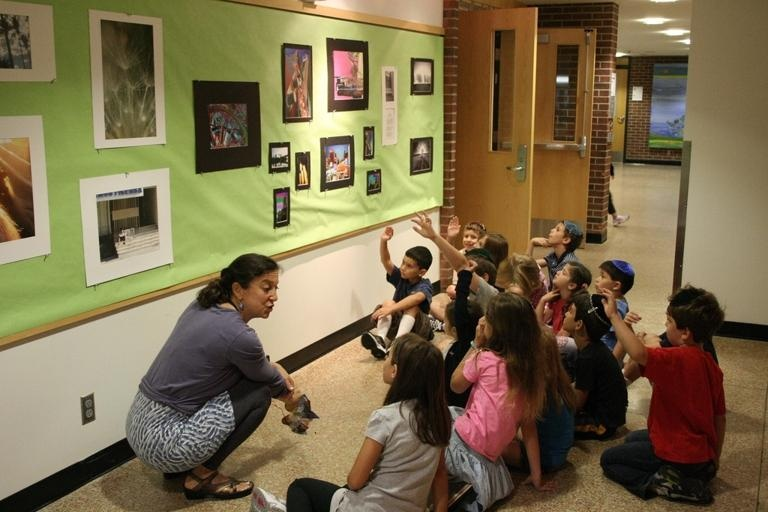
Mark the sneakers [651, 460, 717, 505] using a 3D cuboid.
[{"bbox_3d":[1.849,1.380,3.278,0.303,0.301,0.134,-2,14,0],"label":"sneakers"}]

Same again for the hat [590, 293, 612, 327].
[{"bbox_3d":[1.437,0.357,3.536,0.087,0.204,0.161,-16,-13,26],"label":"hat"}]

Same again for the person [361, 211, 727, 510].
[{"bbox_3d":[1.321,0.807,3.995,1.991,1.523,1.122,5,1,28],"label":"person"}]

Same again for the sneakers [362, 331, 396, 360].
[{"bbox_3d":[-0.078,0.812,4.889,0.146,0.369,0.169,-25,25,45],"label":"sneakers"}]
